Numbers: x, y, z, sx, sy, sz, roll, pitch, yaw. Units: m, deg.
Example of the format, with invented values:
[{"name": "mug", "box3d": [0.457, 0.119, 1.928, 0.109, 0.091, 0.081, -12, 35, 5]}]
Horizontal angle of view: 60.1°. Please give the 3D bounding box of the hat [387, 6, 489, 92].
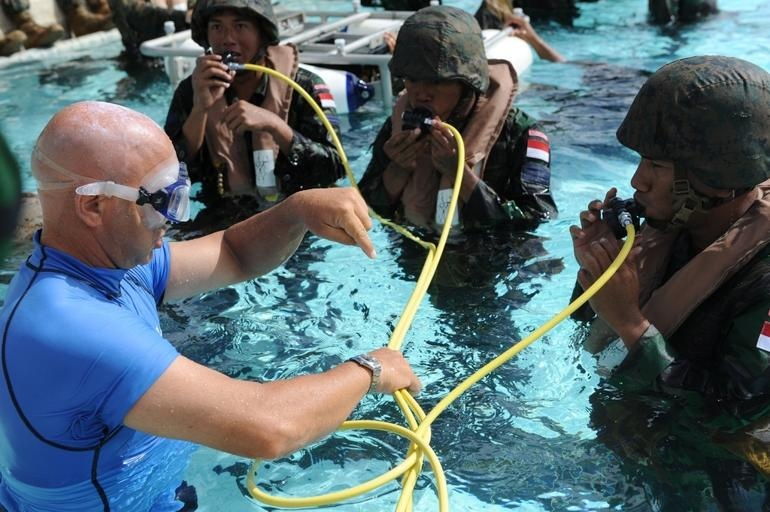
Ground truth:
[{"name": "hat", "box3d": [0.385, -1.371, 4.415, 0.664, 0.424, 0.610, 10, 27, 24]}]
